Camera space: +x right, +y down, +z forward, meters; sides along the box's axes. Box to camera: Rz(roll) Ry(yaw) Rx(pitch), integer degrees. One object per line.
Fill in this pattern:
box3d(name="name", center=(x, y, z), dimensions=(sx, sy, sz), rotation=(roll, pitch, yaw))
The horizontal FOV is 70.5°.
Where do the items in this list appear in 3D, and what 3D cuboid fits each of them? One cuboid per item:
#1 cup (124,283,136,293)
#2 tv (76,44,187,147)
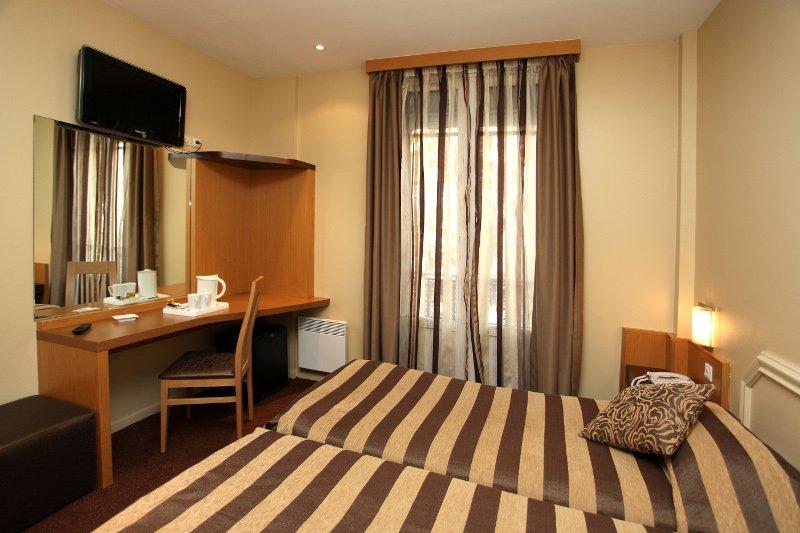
box3d(name="cup", center=(-2.247, 0.180, 4.713), dimensions=(0.071, 0.082, 0.072), rotation=(1, 9, 0))
box3d(name="tv", center=(-2.225, -1.381, 4.600), dimensions=(0.112, 0.712, 0.982), rotation=(8, 3, 31))
